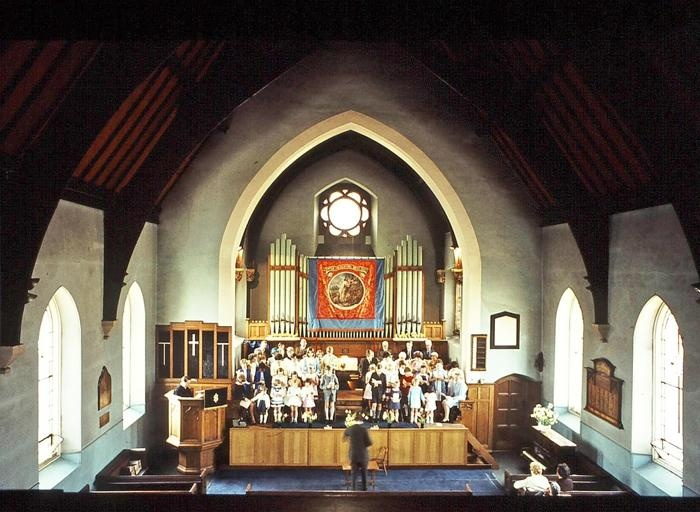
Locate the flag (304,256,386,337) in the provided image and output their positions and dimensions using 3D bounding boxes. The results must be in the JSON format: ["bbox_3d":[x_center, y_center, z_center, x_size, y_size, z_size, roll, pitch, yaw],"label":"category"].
[{"bbox_3d":[-0.112,1.297,21.513,2.044,2.263,0.201,0,-6,-1],"label":"flag"}]

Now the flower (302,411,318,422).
[{"bbox_3d":[-1.043,4.153,18.360,0.305,0.337,0.562,-1,-4,8],"label":"flower"}]

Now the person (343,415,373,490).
[{"bbox_3d":[0.180,4.538,16.410,0.612,1.637,1.966,2,-10,2],"label":"person"}]

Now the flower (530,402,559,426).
[{"bbox_3d":[5.042,4.103,18.397,0.672,0.765,0.632,2,-6,-22],"label":"flower"}]
